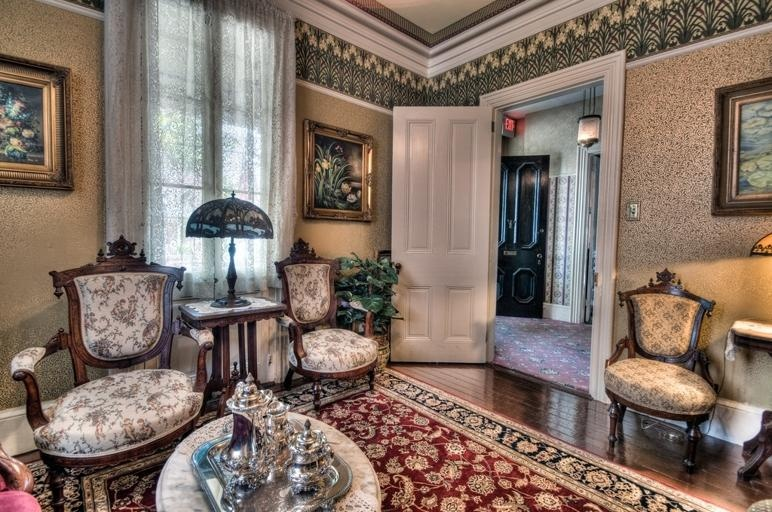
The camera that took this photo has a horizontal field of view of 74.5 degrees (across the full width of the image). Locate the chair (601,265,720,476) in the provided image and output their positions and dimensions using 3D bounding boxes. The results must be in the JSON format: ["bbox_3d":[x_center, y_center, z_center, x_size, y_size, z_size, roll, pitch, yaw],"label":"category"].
[{"bbox_3d":[2.238,0.886,4.156,0.788,1.380,0.921,-2,8,-7],"label":"chair"}]

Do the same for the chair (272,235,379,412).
[{"bbox_3d":[-0.520,0.616,4.703,1.001,1.269,0.975,1,10,-8],"label":"chair"}]

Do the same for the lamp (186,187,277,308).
[{"bbox_3d":[-1.103,-0.024,4.494,0.908,1.056,0.878,1,-1,26],"label":"lamp"}]

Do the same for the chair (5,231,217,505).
[{"bbox_3d":[-1.982,0.652,3.807,1.246,1.555,0.904,0,5,-10],"label":"chair"}]
